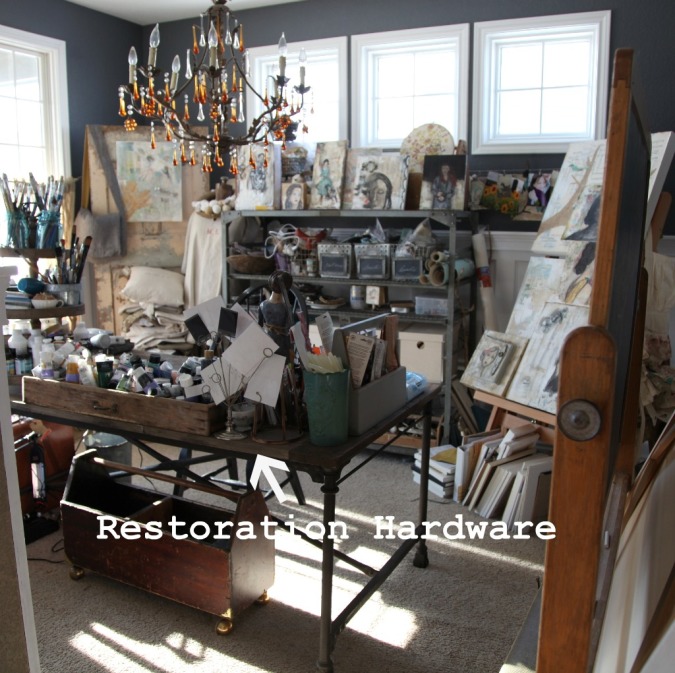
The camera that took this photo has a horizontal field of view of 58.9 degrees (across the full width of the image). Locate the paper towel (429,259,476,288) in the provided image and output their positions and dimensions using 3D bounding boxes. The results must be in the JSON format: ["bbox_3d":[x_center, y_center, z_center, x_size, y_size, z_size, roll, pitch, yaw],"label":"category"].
[{"bbox_3d":[0.879,-0.472,4.453,0.155,0.220,0.529,-9,6,33],"label":"paper towel"}]

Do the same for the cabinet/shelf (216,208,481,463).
[{"bbox_3d":[0.187,-0.038,3.397,1.790,1.676,0.514,6,12,25],"label":"cabinet/shelf"}]

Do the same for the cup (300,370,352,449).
[{"bbox_3d":[-0.033,0.233,2.067,0.174,0.251,0.150,-2,9,9],"label":"cup"}]

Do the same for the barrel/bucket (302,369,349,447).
[{"bbox_3d":[-0.031,0.235,2.004,0.221,0.342,0.210,-1,2,0],"label":"barrel/bucket"}]

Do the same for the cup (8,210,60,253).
[{"bbox_3d":[-2.065,-0.702,4.132,0.287,0.306,0.270,2,4,0],"label":"cup"}]

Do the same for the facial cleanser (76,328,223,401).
[{"bbox_3d":[-0.821,0.129,2.470,0.441,0.149,0.348,10,17,6],"label":"facial cleanser"}]

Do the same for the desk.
[{"bbox_3d":[-0.188,0.558,2.562,1.816,0.973,1.197,6,12,31],"label":"desk"}]

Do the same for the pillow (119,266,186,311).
[{"bbox_3d":[-1.717,-0.462,5.641,0.499,0.398,0.388,1,15,-2],"label":"pillow"}]

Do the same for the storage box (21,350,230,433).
[{"bbox_3d":[-0.755,0.173,2.521,0.889,0.225,0.533,4,10,21],"label":"storage box"}]
